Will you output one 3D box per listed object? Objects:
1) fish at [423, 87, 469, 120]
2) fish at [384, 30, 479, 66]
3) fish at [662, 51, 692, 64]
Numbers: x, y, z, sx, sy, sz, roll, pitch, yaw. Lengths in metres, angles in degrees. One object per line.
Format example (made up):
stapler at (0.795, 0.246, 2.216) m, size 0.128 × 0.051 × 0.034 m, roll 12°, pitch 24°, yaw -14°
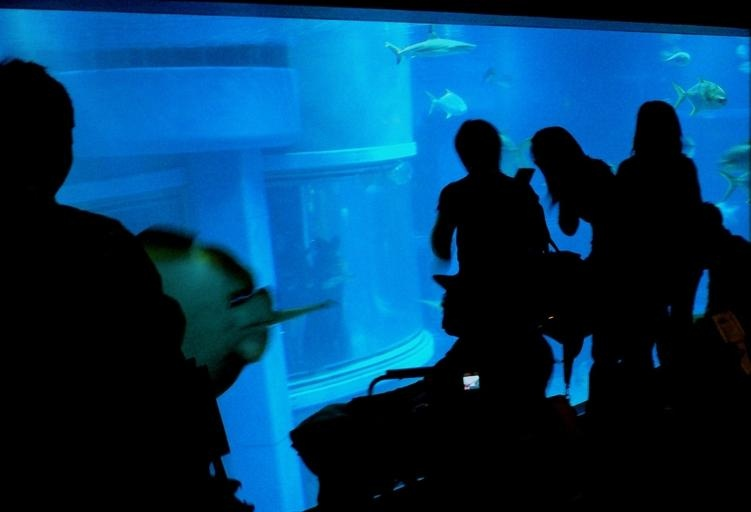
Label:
fish at (0.358, -0.743, 3.218) m, size 0.203 × 0.141 × 0.025 m, roll -8°, pitch -1°, yaw -16°
fish at (0.268, -1.008, 3.196) m, size 0.358 × 0.138 × 0.142 m, roll -7°, pitch -36°, yaw 0°
fish at (1.582, -1.041, 3.440) m, size 0.170 × 0.061 × 0.013 m, roll -7°, pitch -2°, yaw -20°
